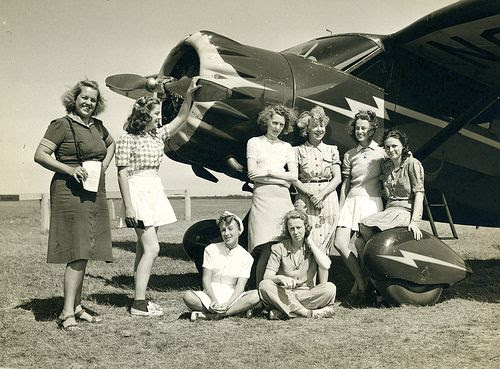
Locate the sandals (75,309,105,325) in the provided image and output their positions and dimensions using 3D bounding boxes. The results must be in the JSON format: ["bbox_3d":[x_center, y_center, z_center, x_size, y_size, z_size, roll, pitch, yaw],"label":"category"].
[{"bbox_3d":[-1.533,1.287,5.706,0.317,0.139,0.115,5,9,2],"label":"sandals"}]

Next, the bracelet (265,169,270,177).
[{"bbox_3d":[0.183,-0.119,5.992,0.047,0.064,0.014,13,-12,2],"label":"bracelet"}]

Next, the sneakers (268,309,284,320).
[{"bbox_3d":[0.257,1.297,5.770,0.120,0.094,0.095,42,-14,15],"label":"sneakers"}]

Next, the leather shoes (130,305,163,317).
[{"bbox_3d":[-1.030,1.268,5.800,0.237,0.108,0.145,3,-2,-8],"label":"leather shoes"}]

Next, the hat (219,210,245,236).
[{"bbox_3d":[-0.178,0.374,6.024,0.197,0.268,0.152,-26,9,12],"label":"hat"}]

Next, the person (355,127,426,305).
[{"bbox_3d":[1.502,0.111,6.154,0.668,1.374,0.445,1,9,9],"label":"person"}]

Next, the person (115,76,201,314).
[{"bbox_3d":[-1.066,0.198,6.017,0.586,2.189,0.826,-2,9,-8],"label":"person"}]

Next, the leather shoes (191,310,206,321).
[{"bbox_3d":[-0.517,1.282,5.716,0.063,0.079,0.176,-16,-22,41],"label":"leather shoes"}]

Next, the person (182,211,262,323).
[{"bbox_3d":[-0.267,0.802,5.776,0.670,1.049,0.764,4,-1,44],"label":"person"}]

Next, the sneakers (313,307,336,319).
[{"bbox_3d":[0.743,1.282,5.833,0.137,0.061,0.122,0,25,-1],"label":"sneakers"}]

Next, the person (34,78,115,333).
[{"bbox_3d":[-1.650,0.172,5.592,0.730,2.321,0.531,-5,10,-28],"label":"person"}]

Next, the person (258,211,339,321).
[{"bbox_3d":[0.393,0.770,6.229,0.961,1.381,0.927,0,-1,-10],"label":"person"}]

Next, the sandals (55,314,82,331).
[{"bbox_3d":[-1.720,1.314,5.519,0.120,0.102,0.232,12,-16,-33],"label":"sandals"}]
